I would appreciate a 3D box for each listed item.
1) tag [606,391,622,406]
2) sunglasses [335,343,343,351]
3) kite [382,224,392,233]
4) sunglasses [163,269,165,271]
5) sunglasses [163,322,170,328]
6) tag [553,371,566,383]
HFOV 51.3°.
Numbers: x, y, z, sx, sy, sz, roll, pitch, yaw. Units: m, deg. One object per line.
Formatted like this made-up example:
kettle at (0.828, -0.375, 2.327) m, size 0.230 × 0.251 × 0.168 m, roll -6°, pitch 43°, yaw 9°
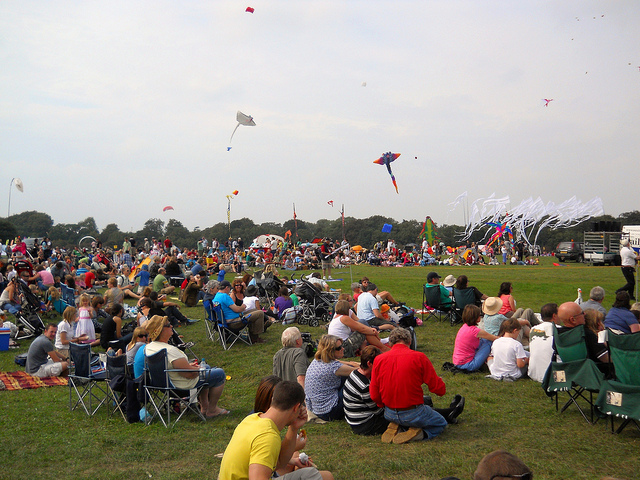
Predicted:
tag at (4.747, 2.543, 10.725) m, size 0.024 × 0.241 × 0.224 m, roll 3°, pitch -6°, yaw -35°
sunglasses at (0.323, 1.843, 11.416) m, size 0.047 × 0.102 × 0.190 m, roll 4°, pitch 10°, yaw 34°
kite at (4.523, -0.798, 45.395) m, size 0.683 × 0.728 × 0.253 m, roll 7°, pitch 2°, yaw -19°
sunglasses at (-5.321, 1.016, 22.621) m, size 0.083 × 0.086 × 0.081 m, roll 3°, pitch -8°, yaw -20°
sunglasses at (-2.707, 1.484, 11.696) m, size 0.124 × 0.068 × 0.101 m, roll -4°, pitch -2°, yaw 2°
tag at (4.146, 2.354, 11.508) m, size 0.169 × 0.189 × 0.042 m, roll -8°, pitch -15°, yaw 34°
